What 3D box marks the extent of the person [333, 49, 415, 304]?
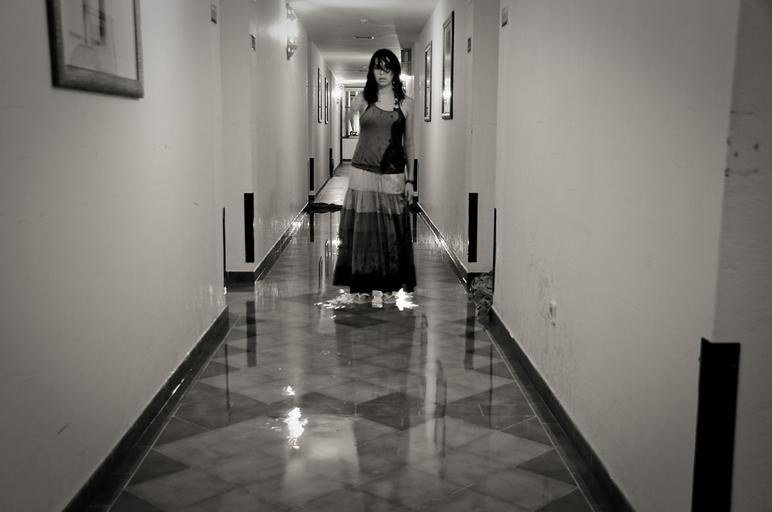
[{"bbox_3d":[-0.105,-0.861,5.466,0.860,2.565,0.253,-1,11,-8],"label":"person"}]
